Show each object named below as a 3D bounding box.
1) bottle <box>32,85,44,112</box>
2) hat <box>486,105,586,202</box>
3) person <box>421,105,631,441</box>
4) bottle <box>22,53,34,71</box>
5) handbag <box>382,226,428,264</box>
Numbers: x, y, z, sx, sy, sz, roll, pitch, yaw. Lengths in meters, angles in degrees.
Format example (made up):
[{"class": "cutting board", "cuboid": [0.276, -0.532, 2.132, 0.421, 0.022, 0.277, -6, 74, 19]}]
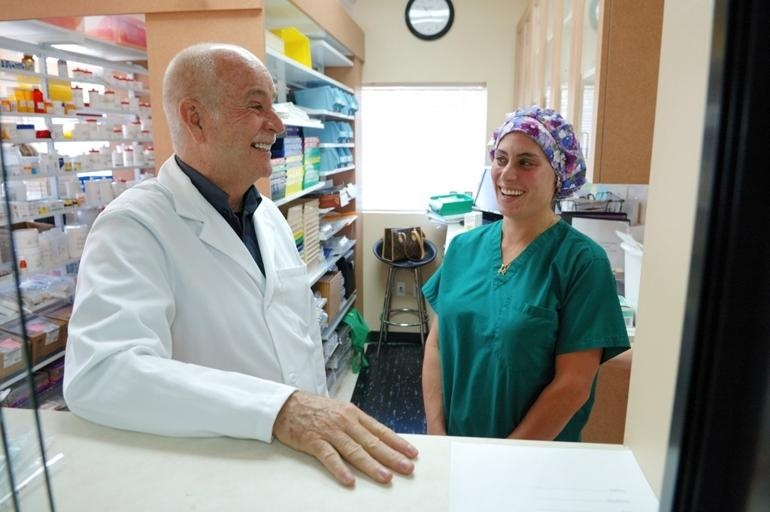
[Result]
[{"class": "bottle", "cuboid": [-2.052, -0.933, 3.079, 0.058, 0.155, 0.109, -3, 10, -27]}, {"class": "hat", "cuboid": [0.527, -0.346, 1.637, 0.249, 0.298, 0.124, 8, 41, 31]}, {"class": "person", "cuboid": [0.404, 0.062, 1.588, 0.509, 1.034, 0.495, 0, 9, -7]}, {"class": "bottle", "cuboid": [-2.096, -1.153, 3.052, 0.056, 0.112, 0.115, -4, 10, -31]}, {"class": "handbag", "cuboid": [0.180, -0.102, 4.348, 0.420, 0.357, 0.249, -1, 17, -5]}]
